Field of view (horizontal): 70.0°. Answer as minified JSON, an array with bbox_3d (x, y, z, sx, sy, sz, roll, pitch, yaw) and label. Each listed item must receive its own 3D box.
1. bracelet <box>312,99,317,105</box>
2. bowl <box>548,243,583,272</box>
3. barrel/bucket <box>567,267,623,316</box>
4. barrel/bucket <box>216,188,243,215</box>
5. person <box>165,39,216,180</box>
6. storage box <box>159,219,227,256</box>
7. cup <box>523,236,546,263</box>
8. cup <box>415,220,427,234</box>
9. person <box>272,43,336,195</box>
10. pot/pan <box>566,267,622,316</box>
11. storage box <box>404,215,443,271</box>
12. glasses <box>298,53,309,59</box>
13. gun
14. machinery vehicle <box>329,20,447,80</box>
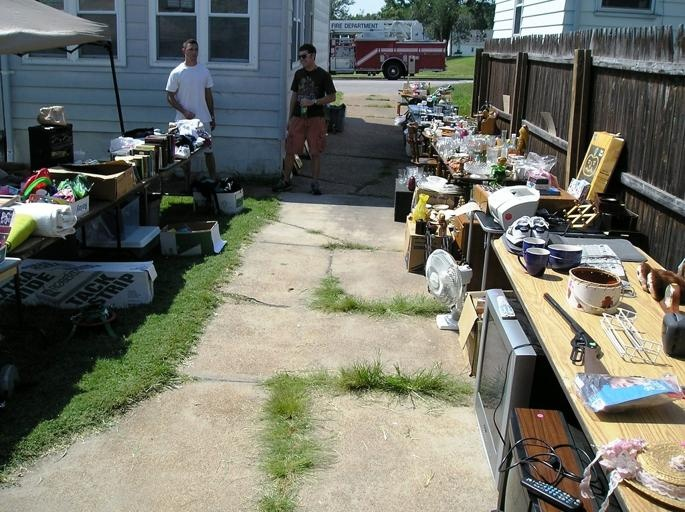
[{"bbox_3d":[-0.456,-2.577,8.216,0.069,0.086,0.138,-1,19,-2],"label":"bracelet"},{"bbox_3d":[1.360,0.008,2.960,0.156,0.132,0.177,0,9,4],"label":"bowl"},{"bbox_3d":[1.326,0.164,2.621,0.240,0.226,0.336,9,18,16],"label":"barrel/bucket"},{"bbox_3d":[-1.722,-0.855,7.458,0.354,0.297,0.369,2,44,-2],"label":"barrel/bucket"},{"bbox_3d":[-2.516,-2.333,8.370,0.787,2.421,0.640,-16,48,-28],"label":"person"},{"bbox_3d":[-1.848,-0.187,6.236,0.789,0.450,0.688,2,18,1],"label":"storage box"},{"bbox_3d":[1.202,-0.042,3.059,0.105,0.113,0.146,-3,20,5],"label":"cup"},{"bbox_3d":[0.903,-0.328,5.613,0.144,0.160,0.098,-3,25,-2],"label":"cup"},{"bbox_3d":[-0.621,-2.310,8.427,0.979,2.403,0.468,-3,18,-7],"label":"person"},{"bbox_3d":[1.338,0.186,2.591,0.232,0.163,0.255,-5,22,-13],"label":"pot/pan"},{"bbox_3d":[0.888,-0.103,5.695,0.349,0.517,0.586,2,20,-1],"label":"storage box"},{"bbox_3d":[-0.674,-3.319,8.185,0.077,0.091,0.188,-14,23,-36],"label":"glasses"},{"bbox_3d":[1.103,0.342,2.309,0.158,0.084,0.630,3,20,9],"label":"gun"},{"bbox_3d":[2.260,-13.221,30.926,4.949,4.030,9.535,-13,23,-33],"label":"machinery vehicle"}]
